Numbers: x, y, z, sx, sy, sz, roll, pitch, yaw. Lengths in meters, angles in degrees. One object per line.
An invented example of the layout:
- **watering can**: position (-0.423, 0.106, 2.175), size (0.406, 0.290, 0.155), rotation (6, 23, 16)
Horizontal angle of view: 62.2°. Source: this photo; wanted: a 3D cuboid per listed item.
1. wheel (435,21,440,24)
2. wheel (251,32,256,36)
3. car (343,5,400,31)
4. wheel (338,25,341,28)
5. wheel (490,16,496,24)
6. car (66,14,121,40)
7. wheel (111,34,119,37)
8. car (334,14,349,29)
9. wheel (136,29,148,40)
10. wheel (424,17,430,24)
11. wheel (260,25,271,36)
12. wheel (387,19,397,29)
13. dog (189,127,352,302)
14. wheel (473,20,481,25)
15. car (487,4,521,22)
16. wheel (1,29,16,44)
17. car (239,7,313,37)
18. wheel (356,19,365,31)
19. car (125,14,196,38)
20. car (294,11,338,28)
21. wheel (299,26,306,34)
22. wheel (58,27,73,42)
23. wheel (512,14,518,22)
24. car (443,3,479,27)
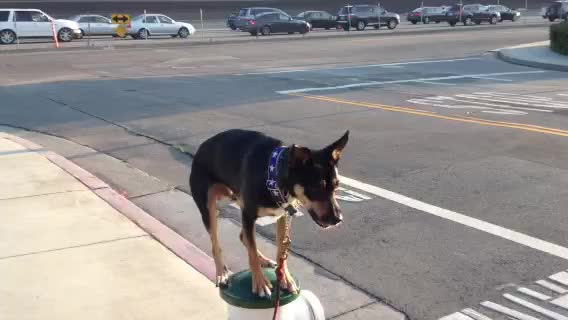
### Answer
- **wheel**: position (18.414, -16.500, 56.460), size (0.245, 0.164, 0.358), rotation (5, 14, 6)
- **wheel**: position (-2.682, -11.170, 41.598), size (0.393, 0.258, 0.511), rotation (-1, 19, -4)
- **car**: position (8.924, -14.559, 47.946), size (6.217, 2.171, 2.616), rotation (-6, 22, -16)
- **wheel**: position (5.618, -13.466, 47.464), size (0.260, 0.293, 0.539), rotation (1, 19, 1)
- **wheel**: position (23.854, -15.924, 53.565), size (0.928, 0.843, 0.376), rotation (-5, 21, -13)
- **car**: position (-15.270, -10.775, 38.390), size (5.223, 1.587, 2.301), rotation (-12, 22, -33)
- **wheel**: position (-14.307, -10.532, 39.851), size (0.439, 0.225, 0.640), rotation (-6, 20, -19)
- **car**: position (5.790, -13.771, 46.863), size (1.917, 0.977, 2.944), rotation (-1, 6, 0)
- **wheel**: position (-11.639, -10.364, 38.607), size (1.044, 0.949, 0.344), rotation (-1, 33, -1)
- **wheel**: position (17.057, -16.742, 56.270), size (0.704, 0.636, 0.255), rotation (-10, 17, -7)
- **wheel**: position (-1.642, -11.381, 41.147), size (0.865, 0.775, 0.317), rotation (-4, 14, -14)
- **wheel**: position (11.079, -13.925, 48.248), size (0.511, 0.908, 1.052), rotation (18, 26, 40)
- **dog**: position (-0.352, 0.602, 6.313), size (1.085, 2.253, 2.994), rotation (-8, 15, -36)
- **wheel**: position (21.791, -15.520, 53.030), size (0.712, 0.236, 0.687), rotation (-1, 10, 0)
- **car**: position (26.595, -17.449, 56.303), size (4.273, 1.779, 1.503), rotation (-14, 24, -36)
- **wheel**: position (-19.648, -8.816, 33.446), size (0.940, 0.865, 0.322), rotation (-13, 35, -37)
- **car**: position (-0.519, -12.362, 42.136), size (6.289, 1.815, 2.654), rotation (-7, 22, -25)
- **wheel**: position (7.584, -13.477, 46.712), size (1.062, 0.973, 0.369), rotation (-16, 27, -35)
- **car**: position (-10.615, -11.132, 39.318), size (4.719, 1.386, 2.029), rotation (-11, 22, -28)
- **car**: position (3.259, -13.850, 47.202), size (4.342, 1.303, 1.997), rotation (-8, 26, -19)
- **wheel**: position (1.686, -11.676, 42.170), size (0.542, 0.500, 0.488), rotation (18, 10, -31)
- **wheel**: position (-16.504, -9.510, 35.492), size (0.892, 0.853, 0.310), rotation (-32, 48, -16)
- **wheel**: position (27.722, -17.034, 56.542), size (0.327, 0.847, 1.156), rotation (17, 25, 39)
- **car**: position (19.632, -16.098, 52.208), size (2.999, 2.281, 1.453), rotation (-4, 20, -11)
